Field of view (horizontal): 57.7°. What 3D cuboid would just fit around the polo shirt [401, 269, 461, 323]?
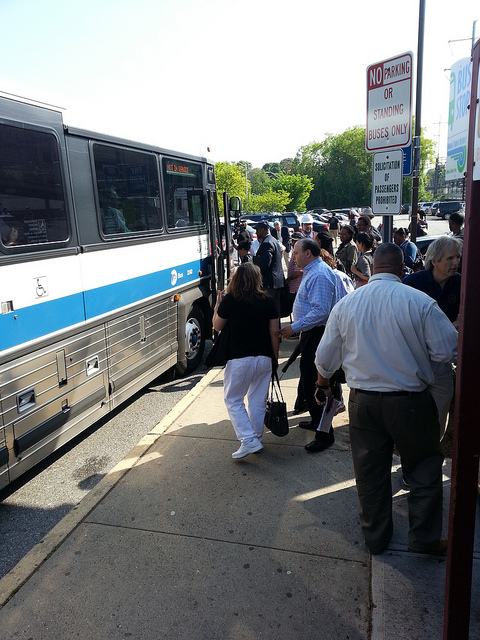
[{"bbox_3d":[1.259,-0.162,2.822,0.289,0.372,0.181,5,-1,-13],"label":"polo shirt"}]

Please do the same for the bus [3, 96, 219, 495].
[{"bbox_3d":[-1.233,-0.602,4.675,0.490,3.073,3.759,-1,5,19],"label":"bus"}]

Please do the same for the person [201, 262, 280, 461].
[{"bbox_3d":[0.037,0.336,3.867,0.648,1.676,0.296,-3,4,-5],"label":"person"}]

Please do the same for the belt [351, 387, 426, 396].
[{"bbox_3d":[0.802,0.384,2.348,0.363,0.036,0.098,-1,6,28],"label":"belt"}]

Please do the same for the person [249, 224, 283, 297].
[{"bbox_3d":[0.435,-0.808,7.311,0.427,1.668,0.557,5,18,19],"label":"person"}]

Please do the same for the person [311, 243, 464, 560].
[{"bbox_3d":[0.845,0.455,2.615,0.740,1.982,0.543,0,15,24],"label":"person"}]

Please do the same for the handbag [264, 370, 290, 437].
[{"bbox_3d":[0.345,0.815,4.179,0.162,0.684,0.503,0,-12,-3],"label":"handbag"}]
